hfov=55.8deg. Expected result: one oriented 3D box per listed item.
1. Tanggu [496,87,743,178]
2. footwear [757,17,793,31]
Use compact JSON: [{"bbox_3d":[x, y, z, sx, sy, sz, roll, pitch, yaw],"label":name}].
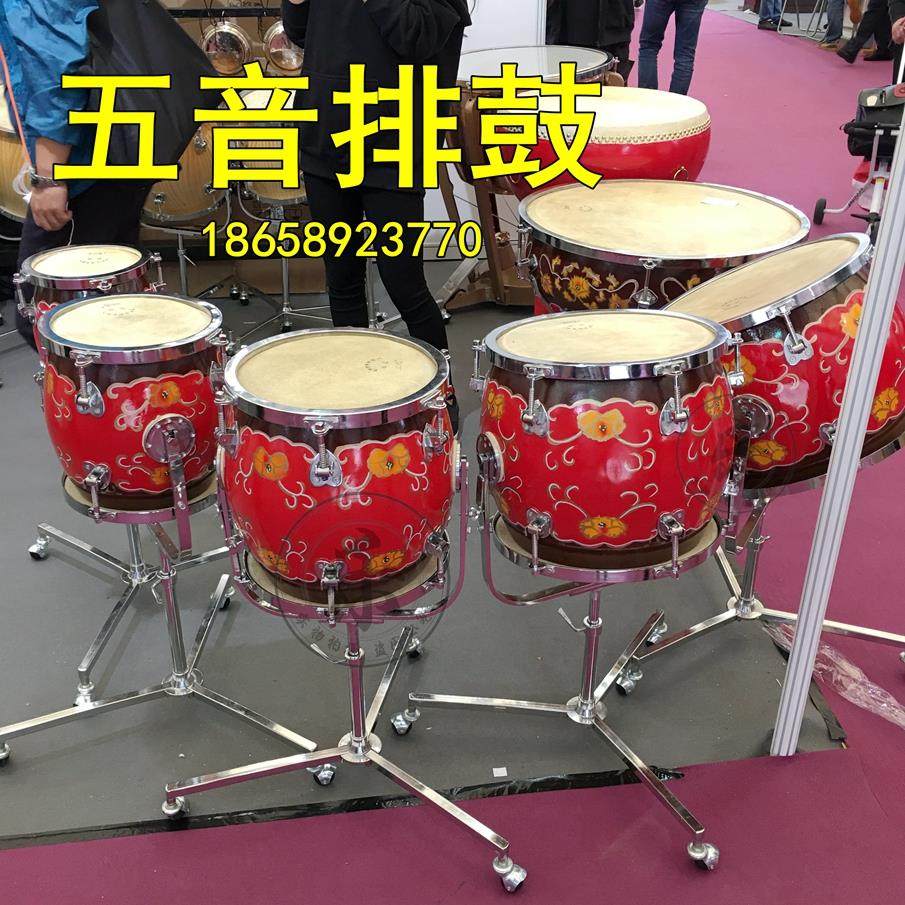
[{"bbox_3d":[0.525,-0.830,2.377,0.430,0.248,0.420,3,25,8],"label":"Tanggu"},{"bbox_3d":[2.083,-2.788,5.582,0.247,0.068,0.092,1,-15,3],"label":"footwear"}]
